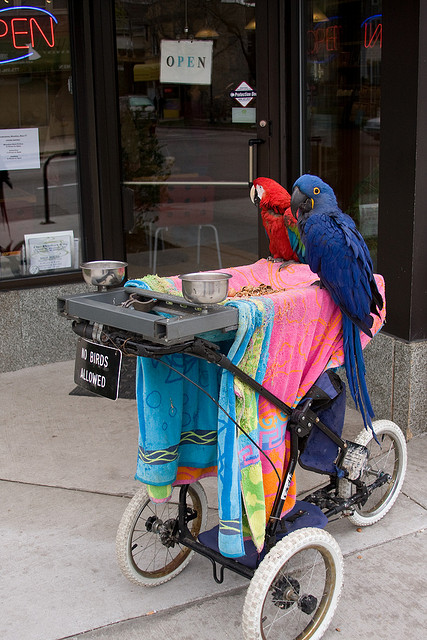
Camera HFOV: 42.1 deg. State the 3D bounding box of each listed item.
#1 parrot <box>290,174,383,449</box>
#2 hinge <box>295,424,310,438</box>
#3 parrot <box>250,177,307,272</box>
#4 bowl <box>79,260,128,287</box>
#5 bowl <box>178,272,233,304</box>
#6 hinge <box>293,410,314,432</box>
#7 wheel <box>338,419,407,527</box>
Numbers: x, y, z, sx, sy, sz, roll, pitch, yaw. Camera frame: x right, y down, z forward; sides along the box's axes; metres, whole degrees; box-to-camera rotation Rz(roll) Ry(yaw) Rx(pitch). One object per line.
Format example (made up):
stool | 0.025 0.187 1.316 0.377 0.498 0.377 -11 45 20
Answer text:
parrot | 0.313 -0.090 1.639 0.312 0.623 0.288 0 11 2
hinge | 0.233 0.301 1.490 0.034 0.036 0.008 39 -11 -38
parrot | 0.318 -0.427 2.510 0.343 0.424 0.199 -8 20 -21
bowl | -0.306 -0.121 1.534 0.114 0.075 0.160 -3 11 -13
bowl | -0.019 -0.065 1.191 0.126 0.062 0.117 3 15 -1
hinge | 0.243 0.272 1.488 0.068 0.027 0.041 42 5 -3
wheel | 0.594 0.582 2.078 0.394 0.392 0.114 5 4 -42
